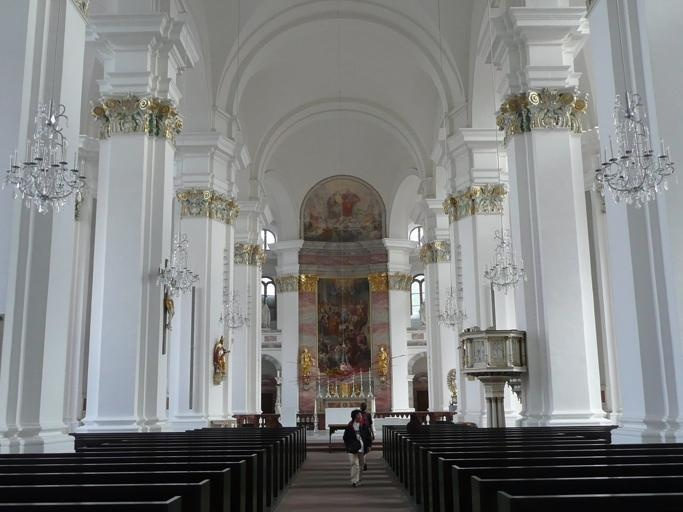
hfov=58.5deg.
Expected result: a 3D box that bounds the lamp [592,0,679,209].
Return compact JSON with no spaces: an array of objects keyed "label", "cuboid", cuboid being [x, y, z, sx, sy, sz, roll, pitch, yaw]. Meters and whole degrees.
[{"label":"lamp","cuboid":[3.257,-1.844,6.964,0.801,2.608,0.787,-7,-12,25]}]

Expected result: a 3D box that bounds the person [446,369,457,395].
[{"label":"person","cuboid":[3.418,3.863,18.956,0.243,0.776,0.441,-2,-11,0]}]

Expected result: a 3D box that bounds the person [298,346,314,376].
[{"label":"person","cuboid":[-1.519,4.613,26.689,0.624,1.223,0.339,0,-11,-10]}]

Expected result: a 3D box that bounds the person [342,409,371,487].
[{"label":"person","cuboid":[0.240,2.895,9.323,0.384,1.067,0.982,-2,-11,2]}]

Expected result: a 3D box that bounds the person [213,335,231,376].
[{"label":"person","cuboid":[-2.886,2.392,14.694,0.279,0.935,0.701,-2,-11,4]}]
